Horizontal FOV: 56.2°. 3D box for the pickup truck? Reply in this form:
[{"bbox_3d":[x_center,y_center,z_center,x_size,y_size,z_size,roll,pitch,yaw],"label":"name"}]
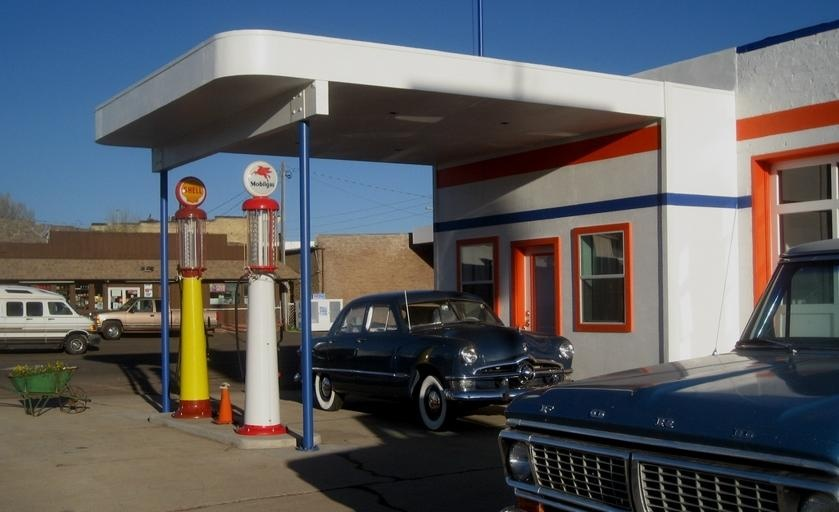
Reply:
[{"bbox_3d":[-12.687,2.857,35.906,4.016,1.976,2.833,-1,0,-3],"label":"pickup truck"}]

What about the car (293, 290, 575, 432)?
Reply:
[{"bbox_3d":[0.116,1.658,13.935,2.437,1.734,4.401,3,-7,-37],"label":"car"}]
